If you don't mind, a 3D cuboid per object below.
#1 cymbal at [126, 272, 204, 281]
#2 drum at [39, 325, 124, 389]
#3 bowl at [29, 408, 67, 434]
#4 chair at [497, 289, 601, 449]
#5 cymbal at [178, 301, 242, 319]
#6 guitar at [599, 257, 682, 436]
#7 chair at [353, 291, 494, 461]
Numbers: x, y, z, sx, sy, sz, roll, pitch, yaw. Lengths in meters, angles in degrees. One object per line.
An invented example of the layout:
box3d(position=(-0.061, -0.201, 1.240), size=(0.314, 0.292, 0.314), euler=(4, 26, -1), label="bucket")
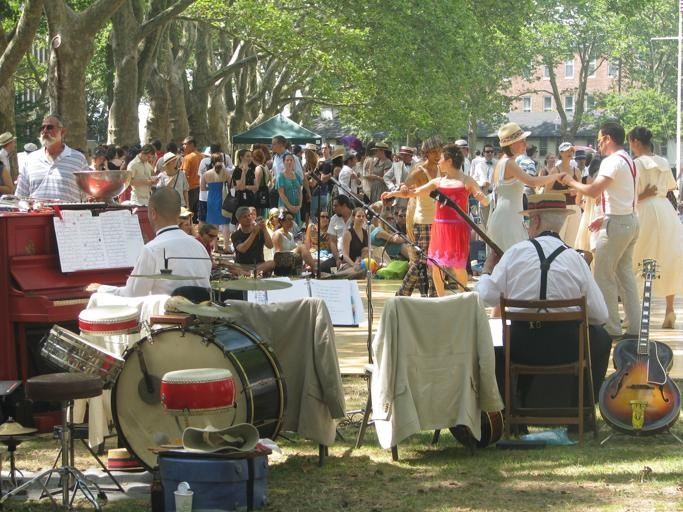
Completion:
box3d(position=(-1.849, 0.212, 15.690), size=(0.790, 0.097, 0.831), euler=(-3, 0, -9), label="cymbal")
box3d(position=(-2.707, 1.042, 15.319), size=(0.755, 0.306, 0.580), euler=(23, -6, 21), label="drum")
box3d(position=(-3.300, 1.842, 16.415), size=(0.438, 0.344, 0.437), euler=(-2, -6, 0), label="bowl")
box3d(position=(2.315, 1.229, 16.450), size=(0.925, 1.621, 1.089), euler=(0, 2, 18), label="chair")
box3d(position=(-1.360, 0.561, 15.049), size=(0.271, 0.067, 0.279), euler=(8, 14, -2), label="cymbal")
box3d(position=(3.343, 1.166, 16.224), size=(0.638, 1.492, 0.764), euler=(4, 8, 19), label="guitar")
box3d(position=(0.991, 1.193, 16.280), size=(1.326, 1.672, 1.268), euler=(0, 7, -4), label="chair")
